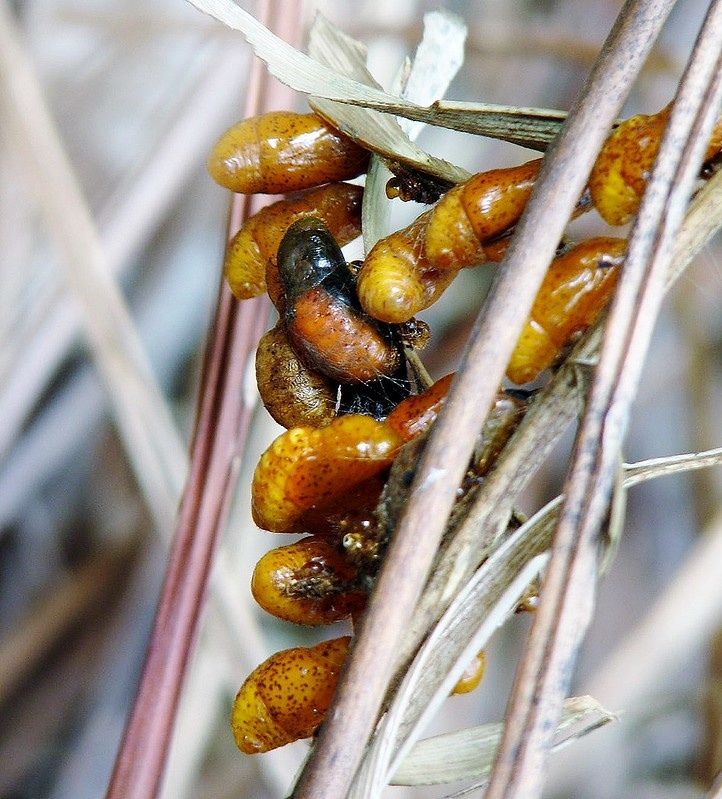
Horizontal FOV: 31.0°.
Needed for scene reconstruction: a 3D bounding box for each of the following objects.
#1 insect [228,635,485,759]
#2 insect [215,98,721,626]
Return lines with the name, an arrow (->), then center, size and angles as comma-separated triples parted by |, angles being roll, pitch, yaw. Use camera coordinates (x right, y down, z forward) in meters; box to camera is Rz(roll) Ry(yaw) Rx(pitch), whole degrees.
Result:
insect -> -0.001, 0.139, 0.643 | 0.113, 0.038, 0.061 | -18, 28, -6
insect -> 0.054, -0.015, 0.745 | 0.250, 0.258, 0.075 | 35, 10, 18
